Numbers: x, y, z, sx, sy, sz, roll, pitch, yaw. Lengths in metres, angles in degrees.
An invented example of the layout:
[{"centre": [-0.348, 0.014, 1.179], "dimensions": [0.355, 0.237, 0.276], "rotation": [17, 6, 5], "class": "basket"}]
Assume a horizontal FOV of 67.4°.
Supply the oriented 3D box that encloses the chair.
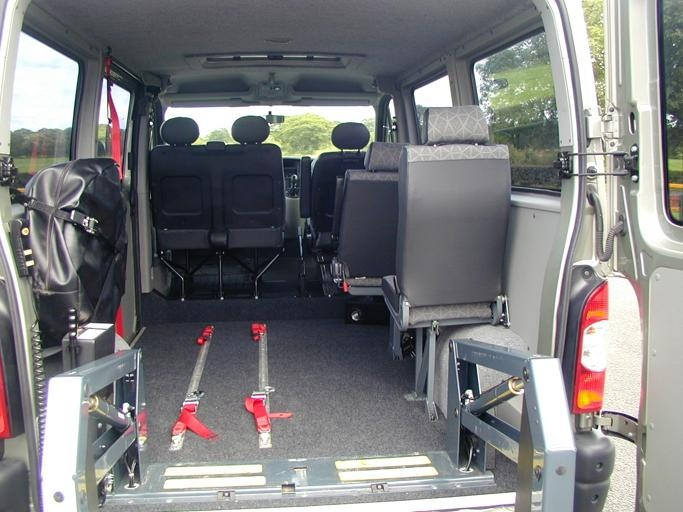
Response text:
[{"centre": [-0.245, -0.298, 4.356], "dimensions": [1.901, 1.392, 0.884], "rotation": [0, 14, -1], "class": "chair"}]
